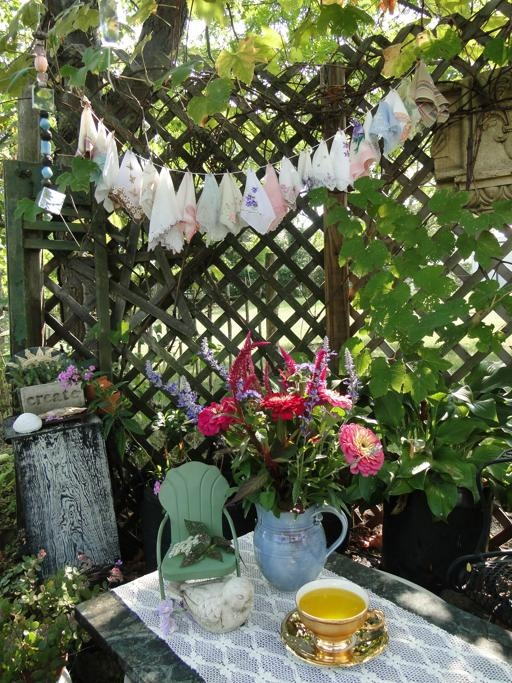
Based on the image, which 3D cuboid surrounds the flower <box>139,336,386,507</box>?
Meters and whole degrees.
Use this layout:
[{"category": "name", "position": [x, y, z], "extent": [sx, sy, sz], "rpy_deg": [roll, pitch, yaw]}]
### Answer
[{"category": "flower", "position": [0.016, 0.168, 1.195], "extent": [0.407, 0.423, 0.547], "rpy_deg": [-4, 7, -11]}]

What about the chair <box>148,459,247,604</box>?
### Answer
[{"category": "chair", "position": [-0.105, 0.387, 1.021], "extent": [0.165, 0.252, 0.190], "rpy_deg": [-3, 4, -5]}]

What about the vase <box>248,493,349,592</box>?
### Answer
[{"category": "vase", "position": [0.081, 0.394, 1.115], "extent": [0.197, 0.171, 0.173], "rpy_deg": [-3, 11, -40]}]

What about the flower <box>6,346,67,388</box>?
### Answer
[{"category": "flower", "position": [-0.790, 0.081, 1.927], "extent": [0.185, 0.151, 0.179], "rpy_deg": [-1, 4, -35]}]
